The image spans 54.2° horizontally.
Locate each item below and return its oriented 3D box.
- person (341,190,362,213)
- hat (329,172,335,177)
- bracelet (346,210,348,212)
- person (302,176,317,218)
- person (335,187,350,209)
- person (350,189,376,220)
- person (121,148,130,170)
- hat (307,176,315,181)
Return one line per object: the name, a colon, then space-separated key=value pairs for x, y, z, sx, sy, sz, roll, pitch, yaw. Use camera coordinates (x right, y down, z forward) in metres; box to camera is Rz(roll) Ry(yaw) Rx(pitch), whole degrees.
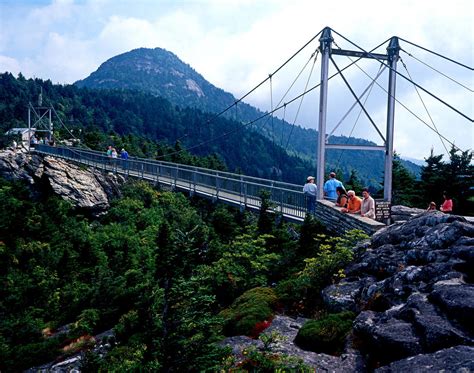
person: x=4.183 y=0.637 z=17.569 sx=0.861 sy=0.851 sz=0.584 roll=2 pitch=-4 yaw=-38
hat: x=3.908 y=-0.469 z=18.976 sx=0.172 sy=0.240 sz=0.229 roll=3 pitch=12 yaw=10
bracelet: x=4.120 y=0.932 z=17.378 sx=0.089 sy=0.106 sz=0.053 roll=0 pitch=-16 yaw=14
person: x=3.071 y=0.393 z=19.605 sx=0.593 sy=1.562 sz=1.159 roll=0 pitch=2 yaw=8
person: x=4.095 y=0.459 z=18.216 sx=0.511 sy=1.000 sz=0.883 roll=2 pitch=0 yaw=21
person: x=4.797 y=0.608 z=17.089 sx=0.723 sy=1.138 sz=0.844 roll=-1 pitch=2 yaw=-17
person: x=-8.495 y=-2.042 z=34.801 sx=0.552 sy=1.627 sz=2.540 roll=-1 pitch=3 yaw=-14
hat: x=3.075 y=-0.327 z=19.654 sx=0.242 sy=0.143 sz=0.355 roll=-16 pitch=-1 yaw=-23
